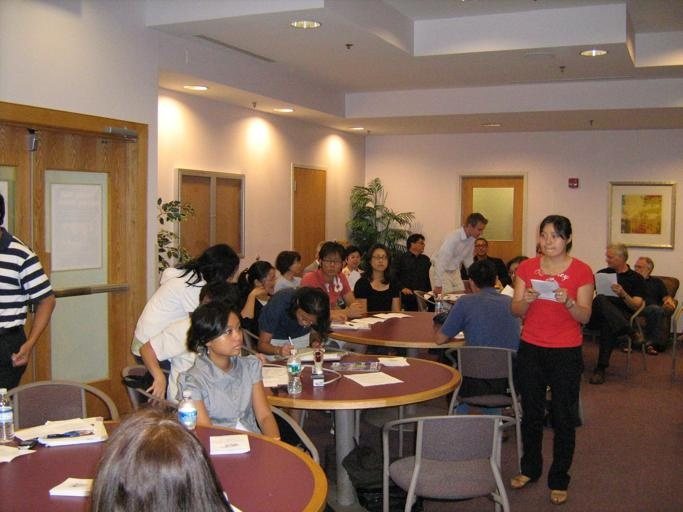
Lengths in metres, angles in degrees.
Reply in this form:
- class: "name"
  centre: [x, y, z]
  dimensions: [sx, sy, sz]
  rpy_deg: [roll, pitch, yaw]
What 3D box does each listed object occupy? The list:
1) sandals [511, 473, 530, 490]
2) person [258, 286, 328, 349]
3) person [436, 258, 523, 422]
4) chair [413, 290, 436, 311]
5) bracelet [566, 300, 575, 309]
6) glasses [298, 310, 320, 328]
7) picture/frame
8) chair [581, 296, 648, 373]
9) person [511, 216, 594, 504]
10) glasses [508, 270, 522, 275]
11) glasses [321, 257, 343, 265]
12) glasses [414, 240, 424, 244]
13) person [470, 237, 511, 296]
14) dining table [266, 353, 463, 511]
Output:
- class: "sandals"
  centre: [1.292, 1.630, 4.030]
  dimensions: [0.190, 0.070, 0.067]
  rpy_deg: [6, -6, -38]
- class: "person"
  centre: [-0.376, 0.509, 4.476]
  dimensions: [0.403, 0.385, 0.707]
  rpy_deg: [-11, -18, -29]
- class: "person"
  centre: [1.204, 0.748, 4.688]
  dimensions: [0.614, 1.296, 0.668]
  rpy_deg: [-4, 11, -35]
- class: "chair"
  centre: [1.111, 0.655, 7.509]
  dimensions: [0.305, 0.389, 0.332]
  rpy_deg: [-2, 7, 8]
- class: "bracelet"
  centre: [1.473, 0.309, 3.589]
  dimensions: [0.055, 0.013, 0.053]
  rpy_deg: [-7, -29, -3]
- class: "glasses"
  centre: [-0.256, 0.476, 4.269]
  dimensions: [0.121, 0.078, 0.150]
  rpy_deg: [24, 14, -21]
- class: "picture/frame"
  centre: [5.200, -0.730, 9.577]
  dimensions: [1.295, 1.393, 0.108]
  rpy_deg: [1, 1, 23]
- class: "chair"
  centre: [3.470, 1.083, 7.125]
  dimensions: [0.417, 0.988, 0.834]
  rpy_deg: [10, 7, -3]
- class: "person"
  centre: [1.412, 0.722, 3.831]
  dimensions: [0.503, 2.001, 0.453]
  rpy_deg: [4, 6, 16]
- class: "glasses"
  centre: [1.674, 0.156, 5.386]
  dimensions: [0.116, 0.029, 0.106]
  rpy_deg: [-8, 1, -26]
- class: "glasses"
  centre: [-0.091, 0.037, 5.504]
  dimensions: [0.215, 0.089, 0.151]
  rpy_deg: [2, 5, -5]
- class: "glasses"
  centre: [1.176, -0.212, 8.271]
  dimensions: [0.042, 0.055, 0.190]
  rpy_deg: [6, 6, 33]
- class: "person"
  centre: [2.213, 0.166, 8.577]
  dimensions: [0.646, 0.933, 0.528]
  rpy_deg: [-9, 1, 16]
- class: "dining table"
  centre: [0.178, 1.149, 3.488]
  dimensions: [1.046, 0.618, 1.047]
  rpy_deg: [0, 4, 26]
